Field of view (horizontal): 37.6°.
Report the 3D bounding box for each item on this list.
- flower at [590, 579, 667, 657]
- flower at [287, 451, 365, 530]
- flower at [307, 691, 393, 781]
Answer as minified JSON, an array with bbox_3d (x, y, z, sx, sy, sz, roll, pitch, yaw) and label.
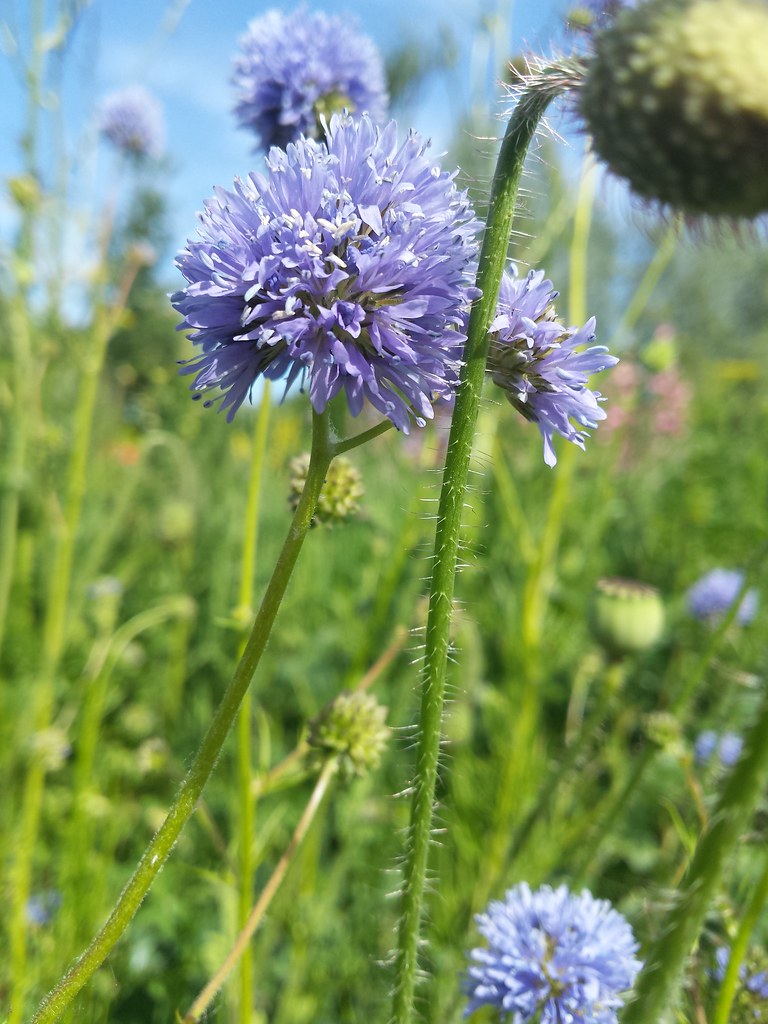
[{"bbox_3d":[0.360,0.154,1.666,0.111,0.115,0.112,-4,4,-10],"label":"flower"},{"bbox_3d":[-0.090,-0.042,1.945,0.132,0.104,0.128,-3,13,-33],"label":"flower"},{"bbox_3d":[-0.072,0.379,1.960,0.132,0.160,0.131,29,70,-2],"label":"flower"}]
